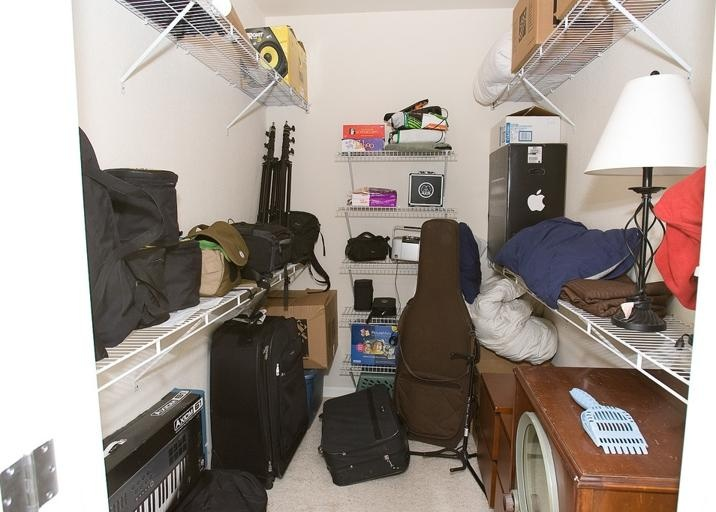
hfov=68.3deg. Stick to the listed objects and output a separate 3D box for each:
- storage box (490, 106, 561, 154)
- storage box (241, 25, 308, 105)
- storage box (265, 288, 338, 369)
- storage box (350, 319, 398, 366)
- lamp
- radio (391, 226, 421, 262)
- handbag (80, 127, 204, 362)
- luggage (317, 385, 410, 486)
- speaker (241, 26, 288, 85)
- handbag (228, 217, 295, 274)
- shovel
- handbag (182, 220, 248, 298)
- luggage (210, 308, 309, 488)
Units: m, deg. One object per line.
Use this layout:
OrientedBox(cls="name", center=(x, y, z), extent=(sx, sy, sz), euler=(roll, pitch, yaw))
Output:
OrientedBox(cls="storage box", center=(0.998, -0.725, 3.049), extent=(0.315, 0.200, 0.447), euler=(2, 6, 7))
OrientedBox(cls="storage box", center=(-0.416, -0.966, 2.747), extent=(0.230, 0.300, 0.438), euler=(2, 6, 7))
OrientedBox(cls="storage box", center=(-0.326, 0.395, 3.162), extent=(0.446, 0.351, 0.458), euler=(1, 4, 6))
OrientedBox(cls="storage box", center=(0.100, 0.546, 3.236), extent=(0.288, 0.260, 0.106), euler=(4, -18, -7))
OrientedBox(cls="lamp", center=(0.941, -0.189, 1.767), extent=(0.331, 0.826, 0.305), euler=(5, 12, 24))
OrientedBox(cls="radio", center=(0.284, -0.067, 3.125), extent=(0.210, 0.215, 0.117), euler=(3, 0, 19))
OrientedBox(cls="handbag", center=(-0.674, -0.061, 1.684), extent=(0.133, 0.640, 0.516), euler=(3, 12, 18))
OrientedBox(cls="luggage", center=(0.021, 0.919, 2.748), extent=(0.440, 0.313, 0.435), euler=(-1, 11, -7))
OrientedBox(cls="speaker", center=(-0.452, -0.980, 2.542), extent=(0.212, 0.235, 0.096), euler=(3, 12, 15))
OrientedBox(cls="handbag", center=(-0.442, -0.061, 2.472), extent=(0.241, 0.176, 0.247), euler=(4, 8, 11))
OrientedBox(cls="shovel", center=(0.780, 0.507, 1.635), extent=(0.143, 0.052, 0.290), euler=(3, 4, 14))
OrientedBox(cls="handbag", center=(-0.581, 0.029, 2.202), extent=(0.225, 0.269, 0.263), euler=(1, 12, 9))
OrientedBox(cls="luggage", center=(-0.479, 0.661, 2.695), extent=(0.373, 0.742, 0.627), euler=(1, 10, 8))
